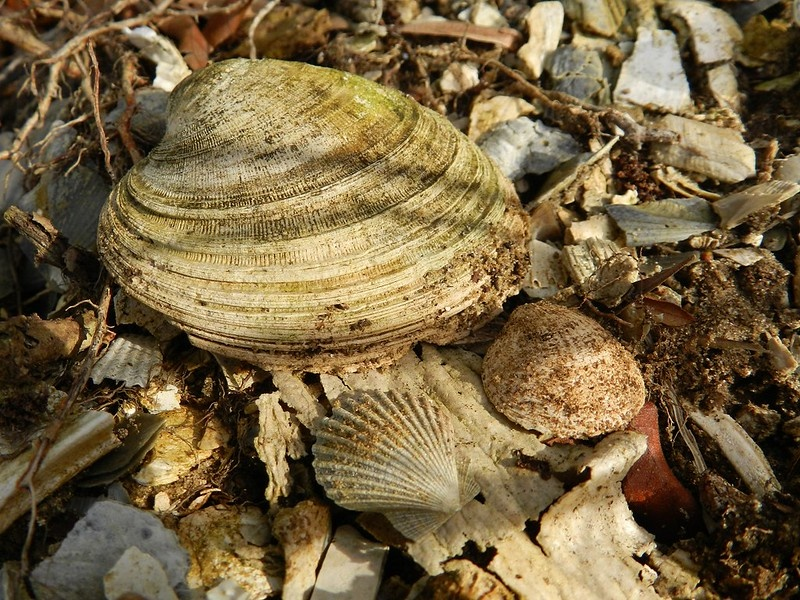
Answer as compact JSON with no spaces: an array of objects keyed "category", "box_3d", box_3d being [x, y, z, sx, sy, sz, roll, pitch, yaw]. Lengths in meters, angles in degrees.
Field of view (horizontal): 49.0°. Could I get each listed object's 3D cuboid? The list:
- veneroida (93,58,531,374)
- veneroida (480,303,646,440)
[{"category":"veneroida","box_3d":[-0.487,-0.531,4.386,1.885,0.519,1.949,-40,65,-14]},{"category":"veneroida","box_3d":[0.758,0.348,4.180,0.695,0.238,0.620,-25,84,1]}]
